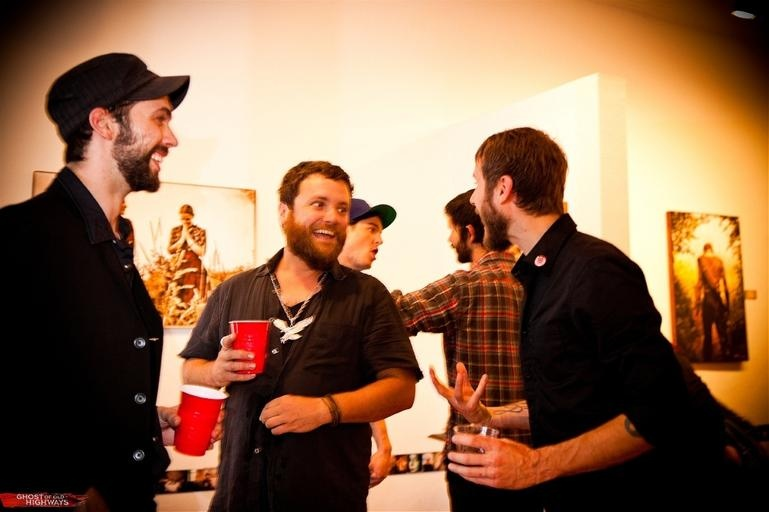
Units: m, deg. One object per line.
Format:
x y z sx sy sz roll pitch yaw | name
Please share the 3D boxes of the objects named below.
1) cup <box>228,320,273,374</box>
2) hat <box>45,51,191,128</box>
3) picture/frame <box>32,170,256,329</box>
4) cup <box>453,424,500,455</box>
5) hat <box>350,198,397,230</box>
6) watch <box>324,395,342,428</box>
-0.567 0.424 2.555 0.219 0.228 0.218 0 -9 0 | cup
-1.231 -0.743 2.601 0.553 0.270 0.366 -20 12 -14 | hat
-1.275 -0.021 2.938 1.066 0.751 0.016 2 -6 -26 | picture/frame
0.381 0.734 2.285 0.165 0.123 0.173 -1 -2 0 | cup
-0.074 -0.271 3.956 0.425 0.204 0.268 10 4 33 | hat
-0.244 0.740 2.677 0.046 0.116 0.106 -12 32 -4 | watch
